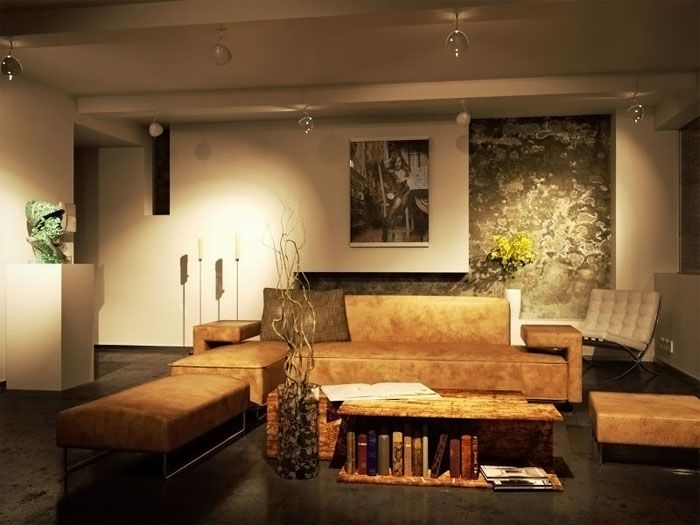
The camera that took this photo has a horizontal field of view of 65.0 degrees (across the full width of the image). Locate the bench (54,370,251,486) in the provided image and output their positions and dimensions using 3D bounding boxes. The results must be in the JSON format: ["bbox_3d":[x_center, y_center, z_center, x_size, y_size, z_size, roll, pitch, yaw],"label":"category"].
[{"bbox_3d":[-1.366,1.223,4.085,0.880,0.605,1.351,-1,-2,14],"label":"bench"}]

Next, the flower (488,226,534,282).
[{"bbox_3d":[2.069,-0.113,7.200,0.662,0.685,0.614,1,1,-3],"label":"flower"}]

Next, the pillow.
[{"bbox_3d":[-0.427,0.520,5.303,0.756,0.575,0.201,-2,-7,1],"label":"pillow"}]

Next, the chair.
[{"bbox_3d":[3.099,0.649,6.329,0.785,0.631,0.681,1,3,33],"label":"chair"}]
